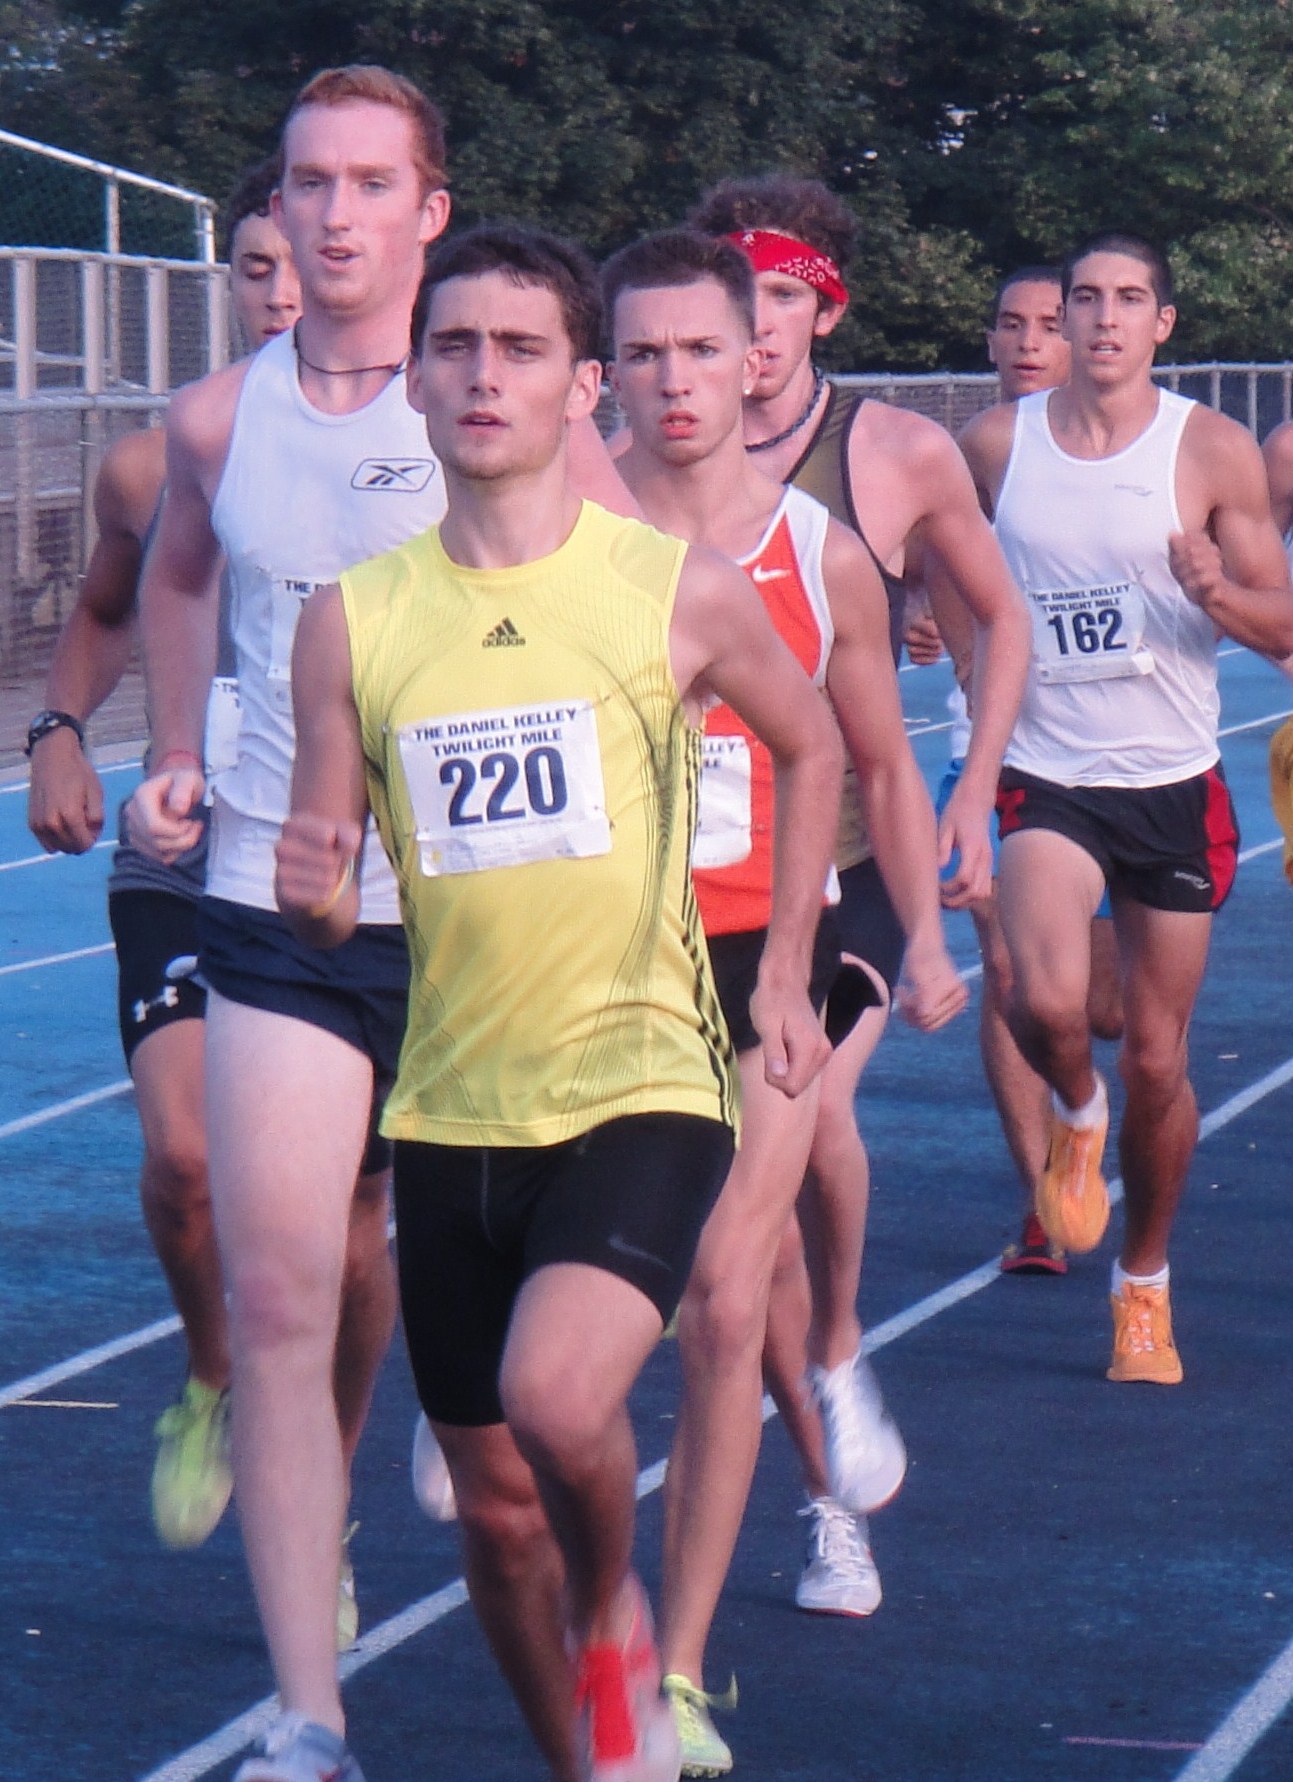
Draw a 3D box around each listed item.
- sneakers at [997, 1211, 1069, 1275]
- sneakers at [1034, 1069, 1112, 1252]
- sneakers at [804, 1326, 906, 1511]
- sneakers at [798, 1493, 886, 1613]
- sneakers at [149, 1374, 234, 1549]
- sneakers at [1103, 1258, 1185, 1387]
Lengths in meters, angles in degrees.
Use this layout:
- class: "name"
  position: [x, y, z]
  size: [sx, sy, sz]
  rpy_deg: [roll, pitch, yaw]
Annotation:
- class: "sneakers"
  position: [0.999, 0.908, 4.963]
  size: [0.089, 0.094, 0.224]
  rpy_deg: [0, 6, 8]
- class: "sneakers"
  position: [1.022, 0.662, 4.603]
  size: [0.150, 0.438, 0.199]
  rpy_deg: [1, 10, 3]
- class: "sneakers"
  position: [0.321, 0.824, 2.911]
  size: [0.130, 0.217, 0.150]
  rpy_deg: [0, 1, 2]
- class: "sneakers"
  position: [0.291, 0.991, 2.901]
  size: [0.126, 0.152, 0.126]
  rpy_deg: [0, 1, 12]
- class: "sneakers"
  position: [-0.679, 0.869, 2.900]
  size: [0.105, 0.225, 0.191]
  rpy_deg: [0, 1, -13]
- class: "sneakers"
  position: [1.068, 0.943, 4.119]
  size: [0.103, 0.120, 0.307]
  rpy_deg: [-2, 6, 8]
